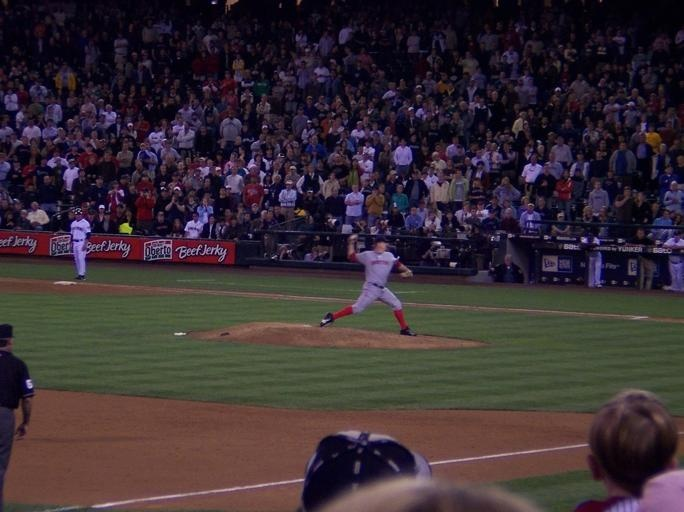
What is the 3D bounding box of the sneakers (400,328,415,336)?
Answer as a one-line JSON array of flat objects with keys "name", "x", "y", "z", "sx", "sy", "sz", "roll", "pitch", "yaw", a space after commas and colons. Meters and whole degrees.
[{"name": "sneakers", "x": 1.729, "y": 1.986, "z": 34.473, "sx": 0.380, "sy": 0.193, "sz": 0.224, "roll": 0, "pitch": -3, "yaw": 2}]
